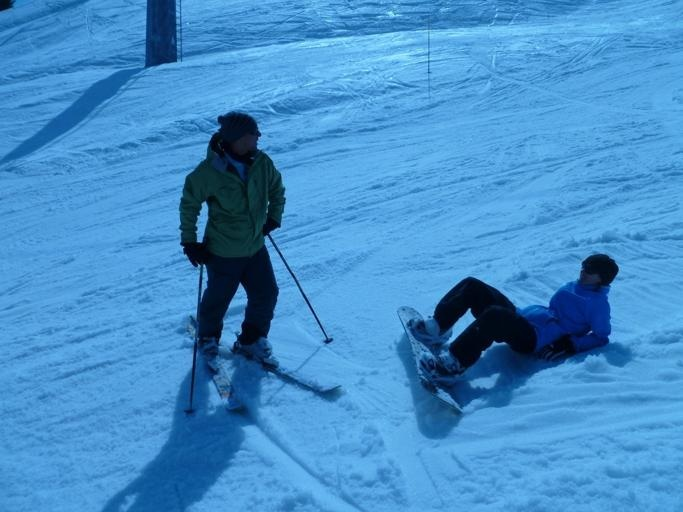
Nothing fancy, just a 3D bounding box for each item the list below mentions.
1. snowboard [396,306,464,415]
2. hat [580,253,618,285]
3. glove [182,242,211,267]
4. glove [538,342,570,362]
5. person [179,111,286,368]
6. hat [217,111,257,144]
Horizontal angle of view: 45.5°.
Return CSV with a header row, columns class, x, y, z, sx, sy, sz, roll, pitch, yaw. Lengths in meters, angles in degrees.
class,x,y,z,sx,sy,sz,roll,pitch,yaw
snowboard,1.008,1.309,10.351,0.508,0.215,1.525,-3,39,-34
hat,3.220,0.169,10.106,0.288,0.390,0.354,-25,30,-33
glove,-1.774,-0.023,10.035,0.275,0.312,0.110,-13,4,-7
glove,2.689,1.198,10.176,0.356,0.084,0.182,-9,31,-1
person,-1.381,-0.161,10.138,1.276,3.122,0.837,-11,27,-8
hat,-1.305,-1.601,9.951,0.462,0.342,0.337,-26,46,-8
